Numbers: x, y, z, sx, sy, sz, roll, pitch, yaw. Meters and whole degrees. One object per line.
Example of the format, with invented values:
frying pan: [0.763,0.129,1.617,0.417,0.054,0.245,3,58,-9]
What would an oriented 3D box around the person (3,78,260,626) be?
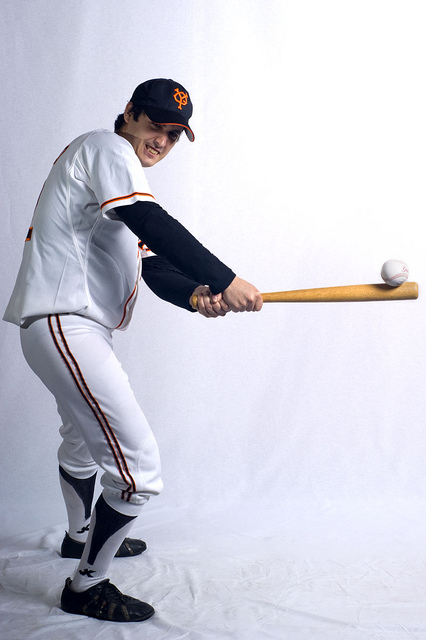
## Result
person: [-0.258,0.082,2.059,0.715,1.658,0.638,0,6,1]

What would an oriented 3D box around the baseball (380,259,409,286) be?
baseball: [0.559,-0.145,2.018,0.076,0.079,0.096,1,5,13]

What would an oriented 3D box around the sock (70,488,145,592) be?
sock: [-0.328,0.663,1.971,0.231,0.345,0.112,5,8,42]
